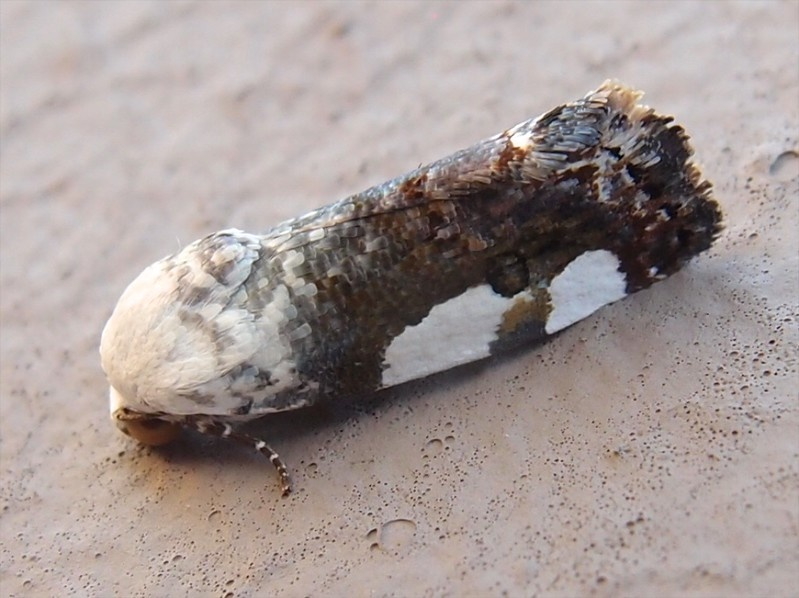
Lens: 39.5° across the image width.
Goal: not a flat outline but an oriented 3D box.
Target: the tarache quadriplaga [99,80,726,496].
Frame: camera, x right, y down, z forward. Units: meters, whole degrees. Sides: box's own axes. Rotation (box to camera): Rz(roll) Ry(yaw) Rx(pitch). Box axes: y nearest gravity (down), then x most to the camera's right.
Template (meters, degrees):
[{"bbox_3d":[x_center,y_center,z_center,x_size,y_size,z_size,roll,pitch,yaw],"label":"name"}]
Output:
[{"bbox_3d":[0.054,-0.117,3.124,2.138,0.767,0.693,-23,82,10],"label":"tarache quadriplaga"}]
